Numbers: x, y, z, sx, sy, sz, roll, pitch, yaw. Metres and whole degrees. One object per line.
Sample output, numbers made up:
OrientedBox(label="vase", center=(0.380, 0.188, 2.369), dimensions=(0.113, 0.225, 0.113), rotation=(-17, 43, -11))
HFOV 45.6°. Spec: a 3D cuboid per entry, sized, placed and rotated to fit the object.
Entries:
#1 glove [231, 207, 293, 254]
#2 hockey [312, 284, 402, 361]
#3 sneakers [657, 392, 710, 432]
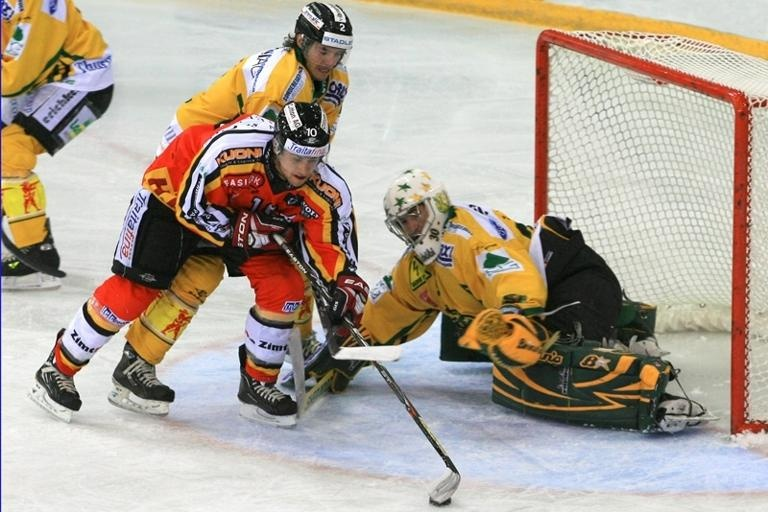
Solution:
OrientedBox(label="glove", center=(-0.576, -0.117, 4.126), dimensions=(0.268, 0.189, 0.079), rotation=(5, 25, -18))
OrientedBox(label="hockey", center=(-0.139, 0.336, 3.979), dimensions=(0.317, 0.089, 0.459), rotation=(-6, 34, -26))
OrientedBox(label="sneakers", center=(1.315, 0.717, 4.154), dimensions=(0.292, 0.104, 0.161), rotation=(0, 27, -1))
